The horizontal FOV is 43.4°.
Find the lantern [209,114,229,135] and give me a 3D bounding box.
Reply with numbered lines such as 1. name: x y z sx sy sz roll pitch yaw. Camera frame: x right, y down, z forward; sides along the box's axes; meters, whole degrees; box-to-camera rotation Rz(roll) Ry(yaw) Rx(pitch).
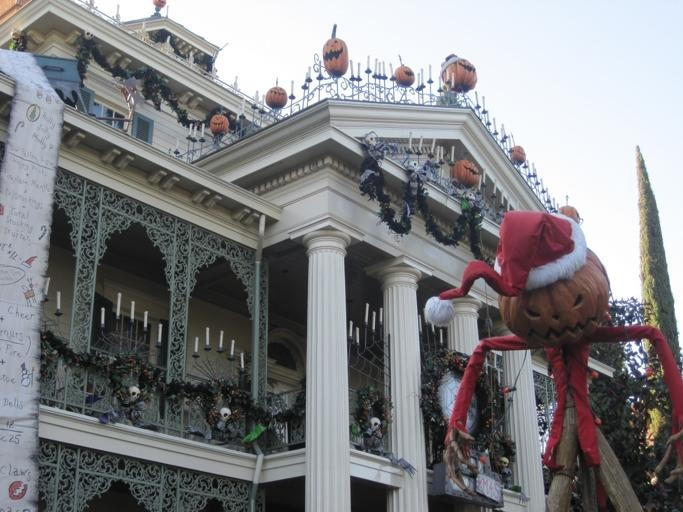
1. lantern: -3.061 -3.256 21.099 0.491 0.655 0.540 -1 -14 -15

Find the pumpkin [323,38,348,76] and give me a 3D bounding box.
1. pumpkin: -0.130 -4.437 18.722 0.409 0.851 0.483 0 2 17

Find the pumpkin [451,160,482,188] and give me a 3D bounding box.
1. pumpkin: 2.908 -1.852 20.276 0.548 0.758 0.637 0 -22 -10

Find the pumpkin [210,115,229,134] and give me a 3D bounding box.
1. pumpkin: -3.045 -3.244 21.062 0.433 0.584 0.479 -1 -11 -12

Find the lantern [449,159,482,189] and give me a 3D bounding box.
1. lantern: 2.909 -1.931 20.090 0.573 0.799 0.671 -2 -19 -2

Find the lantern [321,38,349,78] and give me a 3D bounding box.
1. lantern: -0.157 -4.274 18.555 0.522 0.926 0.508 4 -24 -2
